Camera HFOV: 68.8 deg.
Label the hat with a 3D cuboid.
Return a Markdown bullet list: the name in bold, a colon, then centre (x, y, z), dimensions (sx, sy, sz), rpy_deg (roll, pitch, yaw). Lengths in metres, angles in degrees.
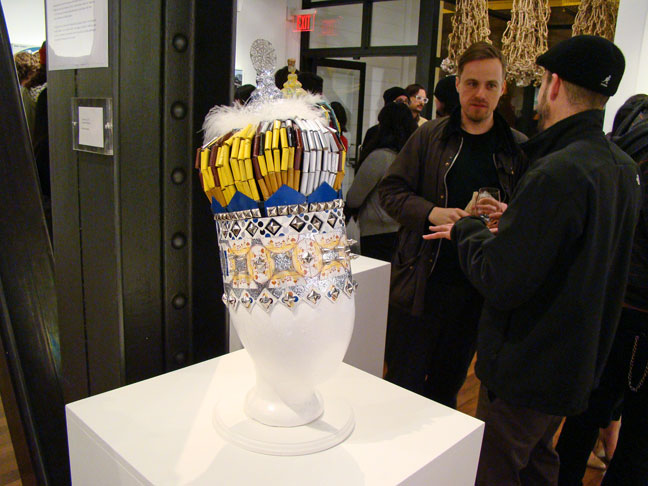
- **hat**: centre (0.824, -0.581, 1.584), dimensions (0.244, 0.115, 0.179), rpy_deg (39, 55, 22)
